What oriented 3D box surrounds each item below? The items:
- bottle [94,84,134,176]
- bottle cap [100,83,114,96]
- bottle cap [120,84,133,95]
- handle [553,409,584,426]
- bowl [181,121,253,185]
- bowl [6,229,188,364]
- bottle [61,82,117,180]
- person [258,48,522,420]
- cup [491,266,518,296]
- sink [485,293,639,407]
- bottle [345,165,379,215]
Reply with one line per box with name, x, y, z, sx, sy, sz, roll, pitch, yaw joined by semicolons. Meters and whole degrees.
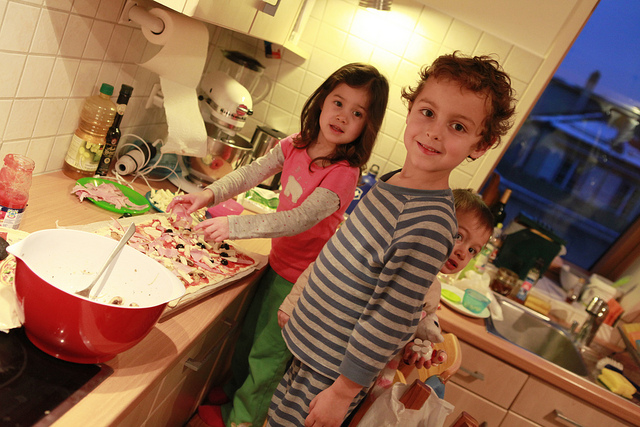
bottle;-0.811;-0.330;1.764;0.133;0.385;0.163;3;18;-7
bottle cap;-0.799;-0.466;1.597;0.041;0.032;0.041;22;18;5
bottle cap;-0.756;-0.493;1.676;0.042;0.040;0.042;16;6;-8
handle;1.184;0.965;2.013;0.140;0.021;0.016;34;35;13
bowl;-0.545;-0.272;2.160;0.346;0.234;0.343;17;8;-2
bowl;-0.570;0.209;1.150;0.375;0.207;0.397;30;5;-3
bottle;-0.901;-0.315;1.686;0.137;0.377;0.134;22;9;-4
person;0.188;0.132;1.350;0.391;1.338;0.427;26;20;18
cup;1.083;0.395;2.560;0.149;0.145;0.146;19;9;-3
sink;1.312;0.603;2.245;0.727;0.170;0.431;34;10;19
bottle;0.257;-0.139;2.555;0.093;0.330;0.141;21;19;5
